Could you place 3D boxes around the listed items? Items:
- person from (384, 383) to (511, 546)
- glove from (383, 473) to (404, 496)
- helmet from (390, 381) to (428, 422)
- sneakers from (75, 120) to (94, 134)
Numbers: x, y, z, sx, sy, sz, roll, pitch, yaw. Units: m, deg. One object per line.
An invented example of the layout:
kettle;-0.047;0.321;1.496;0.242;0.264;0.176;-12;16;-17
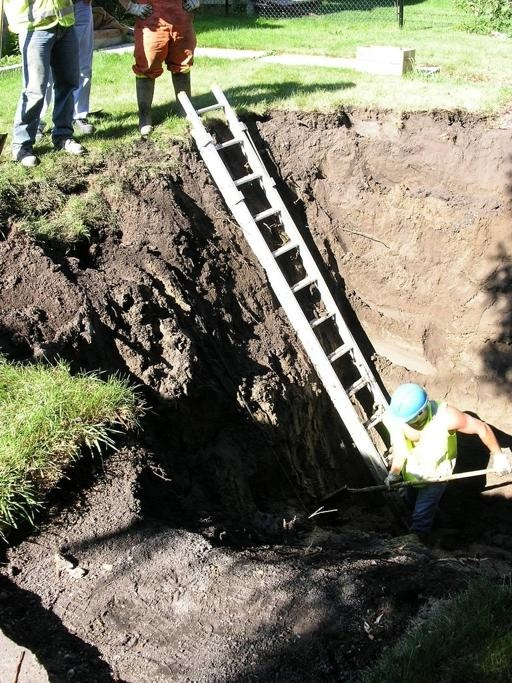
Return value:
person;1.416;1.030;5.411;0.566;1.519;0.877;-22;31;-33
glove;1.106;1.154;5.576;0.142;0.164;0.180;-1;2;3
helmet;1.145;0.467;5.174;0.277;0.276;0.190;1;25;10
sneakers;-1.614;-2.012;6.477;0.077;0.086;0.207;-40;58;-21
